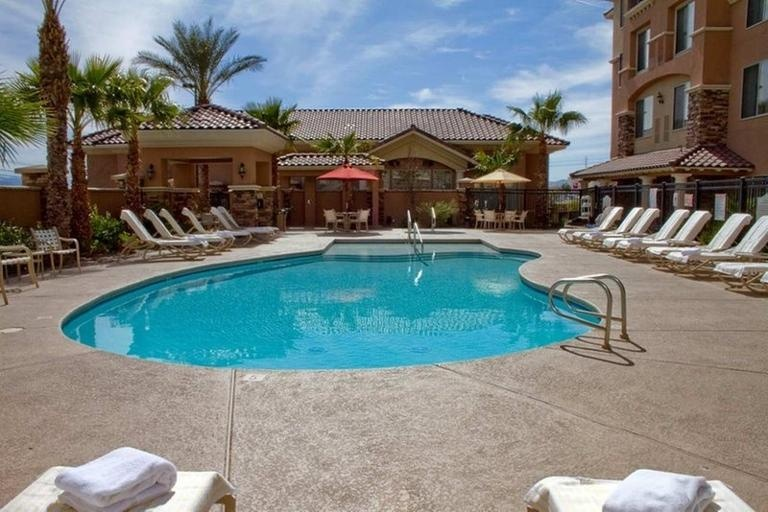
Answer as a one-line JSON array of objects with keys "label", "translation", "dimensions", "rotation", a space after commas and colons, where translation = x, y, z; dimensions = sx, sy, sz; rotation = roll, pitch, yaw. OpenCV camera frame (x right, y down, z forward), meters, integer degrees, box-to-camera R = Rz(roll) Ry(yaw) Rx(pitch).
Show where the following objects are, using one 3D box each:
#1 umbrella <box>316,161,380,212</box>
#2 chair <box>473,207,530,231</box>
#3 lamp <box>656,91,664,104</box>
[{"label": "umbrella", "translation": [-1.783, -3.322, 25.406], "dimensions": [2.970, 2.396, 2.844], "rotation": [-5, 14, -26]}, {"label": "chair", "translation": [6.137, -1.959, 27.928], "dimensions": [2.528, 1.000, 2.119], "rotation": [0, 9, -6]}, {"label": "lamp", "translation": [13.966, -8.054, 26.441], "dimensions": [0.251, 0.656, 0.549], "rotation": [0, 9, -3]}]
